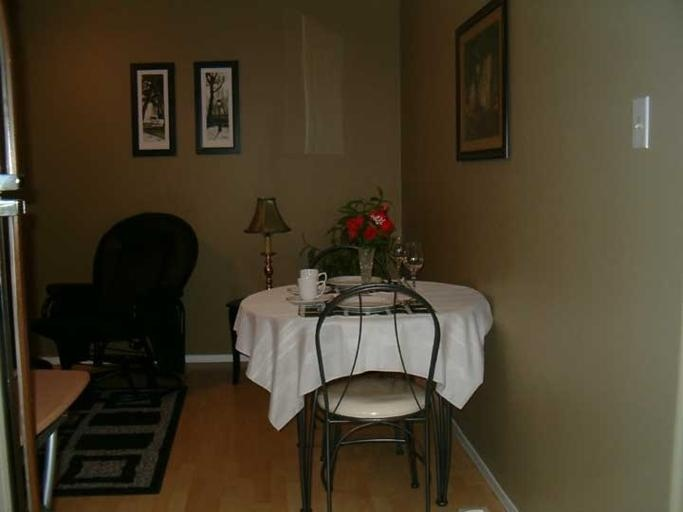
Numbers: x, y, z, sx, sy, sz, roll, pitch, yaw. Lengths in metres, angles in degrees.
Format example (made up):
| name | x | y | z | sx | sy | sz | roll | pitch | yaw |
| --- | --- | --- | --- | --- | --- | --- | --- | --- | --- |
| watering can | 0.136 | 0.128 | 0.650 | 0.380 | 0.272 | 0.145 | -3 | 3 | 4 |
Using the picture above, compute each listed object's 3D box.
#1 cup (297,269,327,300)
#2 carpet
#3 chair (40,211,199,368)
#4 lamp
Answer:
| name | x | y | z | sx | sy | sz | roll | pitch | yaw |
| --- | --- | --- | --- | --- | --- | --- | --- | --- | --- |
| cup | -0.140 | 0.130 | 2.635 | 0.147 | 0.165 | 0.103 | 3 | -3 | -19 |
| carpet | -1.354 | 1.119 | 3.296 | 0.640 | 1.503 | 0.026 | -19 | 54 | -33 |
| chair | -1.563 | 0.332 | 4.095 | 0.759 | 1.243 | 1.085 | 0 | 1 | 16 |
| lamp | -0.544 | -0.062 | 4.328 | 0.349 | 0.750 | 0.871 | -2 | 8 | -9 |
